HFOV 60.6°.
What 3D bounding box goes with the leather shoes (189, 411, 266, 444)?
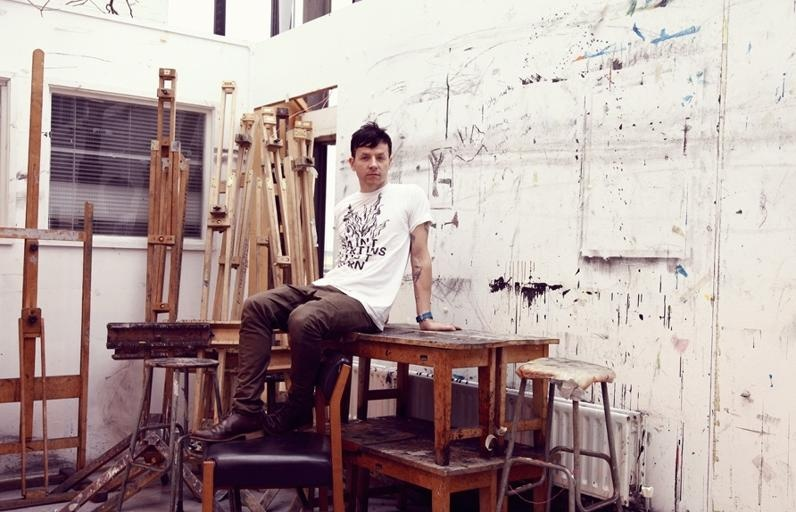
[{"bbox_3d":[-0.926,0.962,3.832,0.449,0.187,0.156,1,-7,-12],"label":"leather shoes"}]
